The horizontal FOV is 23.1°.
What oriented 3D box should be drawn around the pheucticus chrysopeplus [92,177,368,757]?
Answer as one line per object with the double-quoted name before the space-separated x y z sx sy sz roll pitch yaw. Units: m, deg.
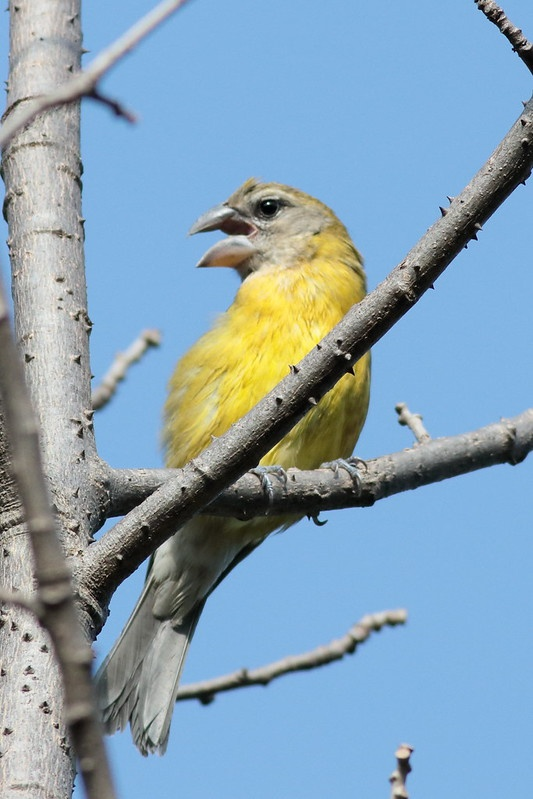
"pheucticus chrysopeplus" -0.109 0.218 3.962 0.895 2.310 0.747 5 -38 -1
